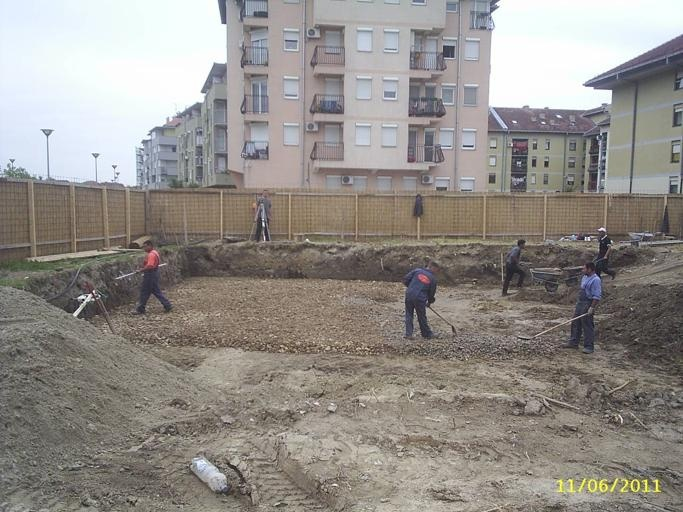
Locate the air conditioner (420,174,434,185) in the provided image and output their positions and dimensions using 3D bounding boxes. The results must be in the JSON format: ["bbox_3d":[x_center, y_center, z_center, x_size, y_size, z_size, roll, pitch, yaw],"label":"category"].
[{"bbox_3d":[4.865,-4.307,35.321,0.734,0.579,0.436,0,1,-9],"label":"air conditioner"}]

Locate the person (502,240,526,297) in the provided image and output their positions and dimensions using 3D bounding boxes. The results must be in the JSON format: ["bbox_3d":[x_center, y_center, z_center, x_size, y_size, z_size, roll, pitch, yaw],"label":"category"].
[{"bbox_3d":[5.697,0.331,20.680,0.690,1.810,1.307,1,5,16],"label":"person"}]

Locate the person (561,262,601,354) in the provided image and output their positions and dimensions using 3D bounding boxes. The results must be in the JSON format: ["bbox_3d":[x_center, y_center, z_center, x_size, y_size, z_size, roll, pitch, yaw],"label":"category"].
[{"bbox_3d":[5.887,1.209,15.132,0.675,2.109,0.627,3,6,33],"label":"person"}]

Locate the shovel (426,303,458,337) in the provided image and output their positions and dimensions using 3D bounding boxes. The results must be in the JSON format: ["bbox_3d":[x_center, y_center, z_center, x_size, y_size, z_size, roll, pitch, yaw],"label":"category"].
[{"bbox_3d":[2.720,1.754,16.972,1.017,0.249,0.174,37,-45,-12],"label":"shovel"}]

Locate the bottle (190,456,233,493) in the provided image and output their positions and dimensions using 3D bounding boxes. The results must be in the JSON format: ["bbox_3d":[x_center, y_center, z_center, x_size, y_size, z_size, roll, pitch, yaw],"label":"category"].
[{"bbox_3d":[-2.205,3.663,10.526,0.731,0.254,0.346,23,20,40],"label":"bottle"}]

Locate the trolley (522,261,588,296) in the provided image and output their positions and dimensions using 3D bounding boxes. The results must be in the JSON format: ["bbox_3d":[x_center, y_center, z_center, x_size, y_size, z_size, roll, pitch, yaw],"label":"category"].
[{"bbox_3d":[6.959,0.707,20.490,1.394,0.990,1.508,2,7,-8],"label":"trolley"}]

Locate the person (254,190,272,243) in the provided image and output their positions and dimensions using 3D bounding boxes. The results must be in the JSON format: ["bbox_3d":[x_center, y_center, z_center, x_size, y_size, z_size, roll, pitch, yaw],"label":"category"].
[{"bbox_3d":[-3.127,-1.631,25.087,0.599,1.989,1.216,-1,5,-7],"label":"person"}]

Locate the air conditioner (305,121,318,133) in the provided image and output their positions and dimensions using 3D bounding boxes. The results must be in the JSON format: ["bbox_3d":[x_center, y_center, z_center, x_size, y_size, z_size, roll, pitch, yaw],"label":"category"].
[{"bbox_3d":[-1.597,-7.093,34.327,0.740,0.579,0.692,0,4,-4],"label":"air conditioner"}]

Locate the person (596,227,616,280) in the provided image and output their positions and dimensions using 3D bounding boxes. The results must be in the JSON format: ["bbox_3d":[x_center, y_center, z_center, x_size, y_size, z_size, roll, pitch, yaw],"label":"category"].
[{"bbox_3d":[8.656,-0.144,20.450,0.569,1.553,2.171,2,5,22],"label":"person"}]

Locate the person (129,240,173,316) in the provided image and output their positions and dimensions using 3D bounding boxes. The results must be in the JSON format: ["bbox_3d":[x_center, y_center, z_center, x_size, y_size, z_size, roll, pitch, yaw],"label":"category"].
[{"bbox_3d":[-5.260,0.596,17.472,1.118,2.212,0.840,0,0,3],"label":"person"}]

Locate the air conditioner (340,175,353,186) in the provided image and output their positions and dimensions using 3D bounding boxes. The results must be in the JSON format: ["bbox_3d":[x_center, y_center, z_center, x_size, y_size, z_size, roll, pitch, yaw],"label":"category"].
[{"bbox_3d":[0.393,-4.226,34.750,0.845,0.543,0.416,-3,5,-34],"label":"air conditioner"}]

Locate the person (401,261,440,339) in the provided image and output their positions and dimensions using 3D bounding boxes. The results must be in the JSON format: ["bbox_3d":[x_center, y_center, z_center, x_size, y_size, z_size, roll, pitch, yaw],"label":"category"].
[{"bbox_3d":[1.977,1.071,15.747,0.802,1.942,0.634,10,6,14],"label":"person"}]
